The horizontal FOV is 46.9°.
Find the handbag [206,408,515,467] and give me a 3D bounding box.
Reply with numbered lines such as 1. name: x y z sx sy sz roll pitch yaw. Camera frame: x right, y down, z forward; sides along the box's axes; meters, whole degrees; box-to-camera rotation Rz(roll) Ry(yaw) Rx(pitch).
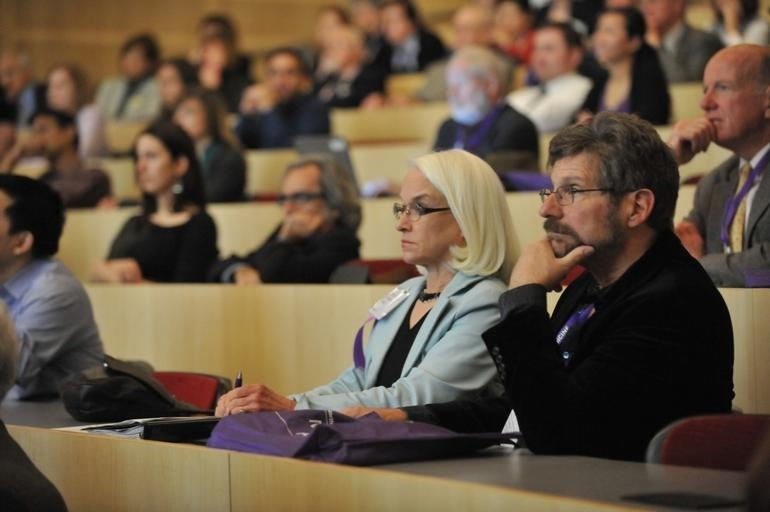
1. handbag: -0.081 0.536 2.629 0.887 0.134 0.260 -2 7 -9

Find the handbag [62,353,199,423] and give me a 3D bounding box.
1. handbag: -0.970 0.503 3.306 0.351 0.130 0.272 2 0 -18
